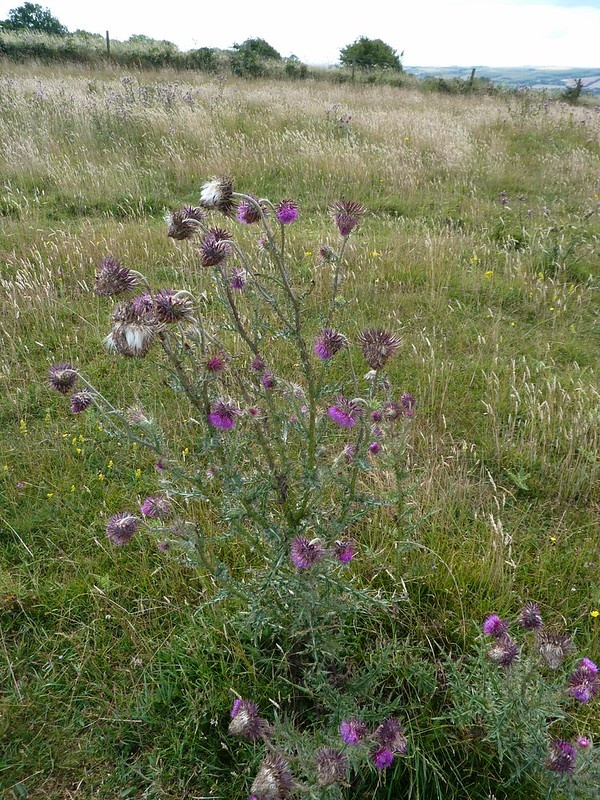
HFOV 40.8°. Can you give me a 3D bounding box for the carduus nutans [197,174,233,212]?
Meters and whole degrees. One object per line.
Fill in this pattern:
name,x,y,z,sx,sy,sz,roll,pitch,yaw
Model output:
carduus nutans,-0.266,-0.688,2.720,0.121,0.115,0.122,10,61,-17
